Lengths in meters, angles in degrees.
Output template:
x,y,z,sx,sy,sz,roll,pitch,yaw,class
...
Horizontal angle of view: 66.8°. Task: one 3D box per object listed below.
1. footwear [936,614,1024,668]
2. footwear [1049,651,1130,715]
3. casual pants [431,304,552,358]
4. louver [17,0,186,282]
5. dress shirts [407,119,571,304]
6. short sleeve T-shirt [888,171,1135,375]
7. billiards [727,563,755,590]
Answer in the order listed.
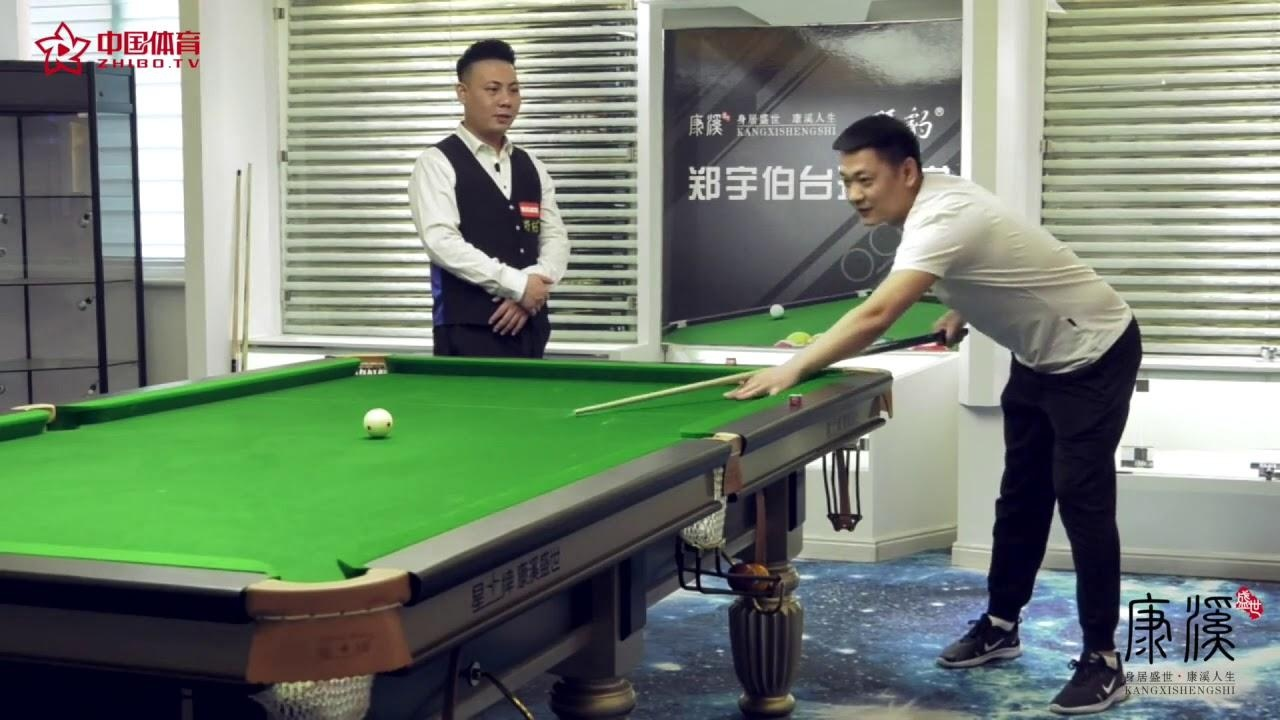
x,y,z,sx,sy,sz,roll,pitch,yaw,class
1.444,1.192,4.165,0.486,0.197,0.151,-1,-4,-22,footwear
1.734,1.236,3.734,0.305,0.198,0.150,-10,16,-38,footwear
-0.672,-0.143,4.435,0.384,0.185,0.271,1,3,-2,casual pants
-3.331,-1.397,6.135,0.880,1.757,0.548,-2,13,-2,louver
-0.663,-0.672,4.388,0.697,0.778,0.510,-5,13,-16,dress shirts
1.385,-0.316,3.700,1.050,0.767,0.292,-4,14,-14,short sleeve T-shirt
0.344,0.735,3.299,0.103,0.076,0.101,-2,0,8,billiards
